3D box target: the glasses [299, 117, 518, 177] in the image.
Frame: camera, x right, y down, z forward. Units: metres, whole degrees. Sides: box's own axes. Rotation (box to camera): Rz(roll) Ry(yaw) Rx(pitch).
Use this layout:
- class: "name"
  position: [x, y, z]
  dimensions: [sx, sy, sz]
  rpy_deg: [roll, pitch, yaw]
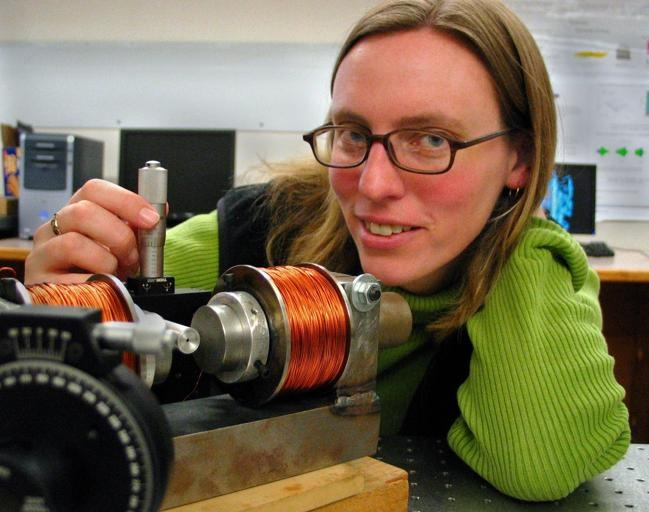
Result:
- class: "glasses"
  position: [0.159, -0.230, 1.492]
  dimensions: [0.477, 0.113, 0.230]
  rpy_deg: [1, 5, 13]

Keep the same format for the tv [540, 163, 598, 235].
- class: "tv"
  position: [1.040, -0.240, 2.917]
  dimensions: [0.370, 0.382, 0.015]
  rpy_deg: [-4, 4, -8]
